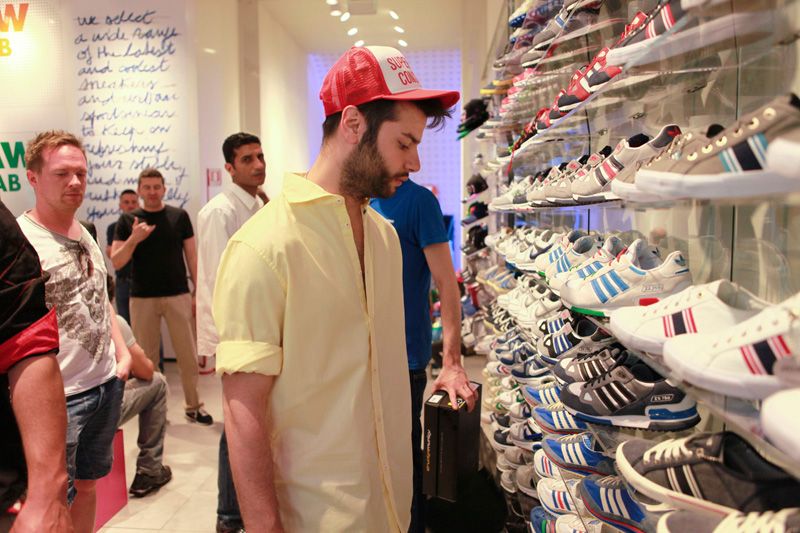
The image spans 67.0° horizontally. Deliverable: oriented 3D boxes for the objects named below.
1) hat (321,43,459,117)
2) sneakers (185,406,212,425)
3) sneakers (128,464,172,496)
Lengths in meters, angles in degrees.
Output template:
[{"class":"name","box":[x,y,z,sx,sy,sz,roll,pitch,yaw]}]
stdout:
[{"class":"hat","box":[-0.046,-0.574,1.998,0.364,0.191,0.238,-5,9,7]},{"class":"sneakers","box":[-1.557,1.162,4.712,0.220,0.100,0.108,4,6,5]},{"class":"sneakers","box":[-1.558,1.341,3.839,0.100,0.142,0.282,1,7,23]}]
